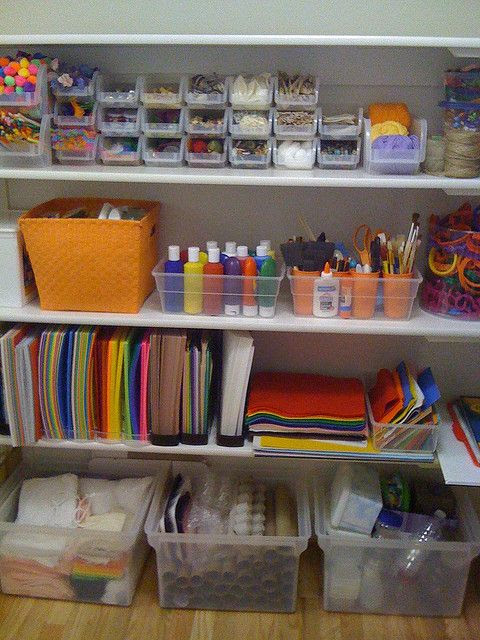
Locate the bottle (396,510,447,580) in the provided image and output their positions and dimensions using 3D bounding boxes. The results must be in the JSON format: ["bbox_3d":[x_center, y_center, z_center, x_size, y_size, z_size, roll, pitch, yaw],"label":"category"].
[{"bbox_3d":[0.496,0.573,1.453,0.059,0.140,0.230,16,31,33],"label":"bottle"}]

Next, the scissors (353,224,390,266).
[{"bbox_3d":[0.311,-0.183,1.333,0.032,0.081,0.128,-20,32,2],"label":"scissors"}]

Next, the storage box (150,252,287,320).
[{"bbox_3d":[-0.059,-0.085,1.273,0.240,0.085,0.161,0,9,1],"label":"storage box"}]

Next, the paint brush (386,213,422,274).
[{"bbox_3d":[0.390,-0.175,1.289,0.106,0.139,0.050,5,4,12],"label":"paint brush"}]

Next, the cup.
[{"bbox_3d":[0.261,-0.063,1.265,0.217,0.075,0.137,0,6,2],"label":"cup"}]

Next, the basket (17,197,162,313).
[{"bbox_3d":[-0.355,-0.187,1.353,0.280,0.223,0.319,1,14,1],"label":"basket"}]

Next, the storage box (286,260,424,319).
[{"bbox_3d":[0.260,-0.077,1.265,0.231,0.079,0.146,0,7,1],"label":"storage box"}]

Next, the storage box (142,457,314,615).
[{"bbox_3d":[-0.032,0.615,1.629,0.408,0.237,0.487,4,6,0],"label":"storage box"}]

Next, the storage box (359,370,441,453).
[{"bbox_3d":[0.410,0.210,1.393,0.163,0.099,0.226,-2,18,7],"label":"storage box"}]

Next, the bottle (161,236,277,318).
[{"bbox_3d":[-0.051,-0.094,1.290,0.288,0.168,0.086,1,26,5],"label":"bottle"}]

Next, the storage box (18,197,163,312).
[{"bbox_3d":[-0.358,-0.188,1.358,0.278,0.221,0.318,1,14,2],"label":"storage box"}]
